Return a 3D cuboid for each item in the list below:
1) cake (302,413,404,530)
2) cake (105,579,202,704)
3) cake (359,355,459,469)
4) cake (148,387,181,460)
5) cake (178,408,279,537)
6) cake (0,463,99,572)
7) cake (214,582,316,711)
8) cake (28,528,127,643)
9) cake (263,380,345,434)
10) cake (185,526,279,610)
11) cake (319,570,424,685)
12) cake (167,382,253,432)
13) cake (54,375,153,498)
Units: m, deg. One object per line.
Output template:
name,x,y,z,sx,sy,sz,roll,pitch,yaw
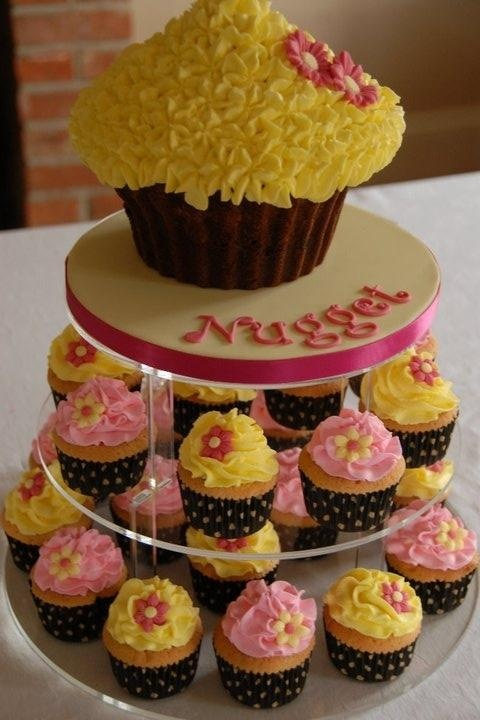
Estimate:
cake,0.148,0.179,1.225,0.198,0.209,0.197,-2,37,-1
cake,-0.139,0.475,1.226,0.182,0.171,0.204,0,29,-4
cake,0.325,0.074,1.398,0.197,0.193,0.220,-8,33,-1
cake,-0.137,0.109,1.186,0.046,0.039,0.159,7,50,-13
cake,-0.021,0.191,1.115,0.206,0.217,0.198,1,30,-1
cake,-0.379,0.312,1.498,0.206,0.226,0.213,-4,37,-7
cake,0.047,0.479,1.180,0.165,0.191,0.182,2,16,4
cake,-0.273,0.426,1.366,0.211,0.221,0.208,2,34,-7
cake,0.147,0.103,1.519,0.152,0.127,0.145,-5,11,8
cake,-0.016,0.378,1.398,0.185,0.173,0.201,-1,26,0
cake,0.236,0.474,1.241,0.180,0.155,0.166,-1,20,-10
cake,-0.067,0.082,1.518,0.140,0.098,0.140,0,23,-4
cake,-0.207,0.139,1.311,0.204,0.216,0.204,3,34,-3
